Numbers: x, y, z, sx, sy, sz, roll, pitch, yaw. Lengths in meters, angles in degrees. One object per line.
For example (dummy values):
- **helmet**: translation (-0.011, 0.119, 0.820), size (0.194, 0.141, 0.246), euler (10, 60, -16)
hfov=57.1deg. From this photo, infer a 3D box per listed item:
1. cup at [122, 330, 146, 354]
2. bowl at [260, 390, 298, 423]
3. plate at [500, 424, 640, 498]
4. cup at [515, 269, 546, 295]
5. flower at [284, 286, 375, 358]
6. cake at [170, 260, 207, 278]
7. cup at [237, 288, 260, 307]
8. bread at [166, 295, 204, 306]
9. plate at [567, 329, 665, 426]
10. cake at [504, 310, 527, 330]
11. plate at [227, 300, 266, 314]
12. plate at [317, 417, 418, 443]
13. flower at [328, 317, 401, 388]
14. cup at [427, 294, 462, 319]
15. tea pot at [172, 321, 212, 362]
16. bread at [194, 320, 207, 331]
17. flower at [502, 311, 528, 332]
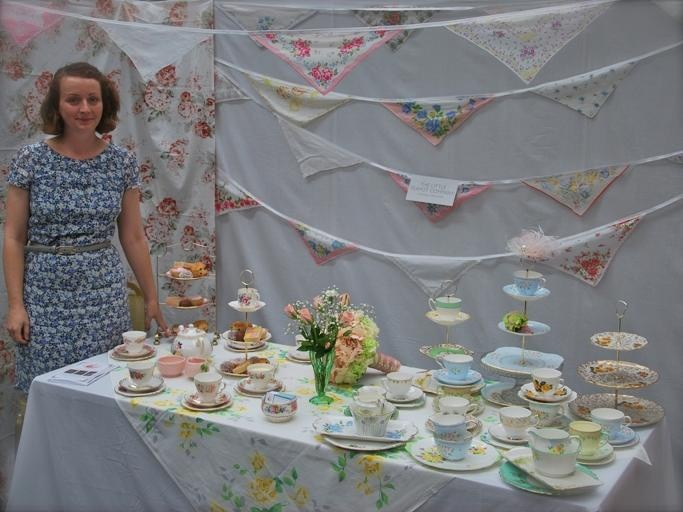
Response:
- **cup**: translation (-0.974, 0.392, 2.893), size (0.102, 0.079, 0.105), euler (2, -1, 0)
- **bowl**: translation (-0.233, 0.554, 2.322), size (0.115, 0.074, 0.116), euler (3, -6, 0)
- **plate**: translation (0.668, 0.671, 2.009), size (0.232, 0.055, 0.250), euler (3, 14, 36)
- **cup**: translation (0.794, 0.107, 2.617), size (0.107, 0.080, 0.128), euler (1, -5, 16)
- **flower**: translation (-0.065, 0.256, 2.629), size (0.305, 0.247, 0.282), euler (6, 13, -11)
- **cake**: translation (-0.782, 0.066, 3.221), size (0.131, 0.043, 0.129), euler (0, 8, -2)
- **cup**: translation (-0.434, 0.185, 2.939), size (0.115, 0.080, 0.104), euler (1, -5, 2)
- **bread**: translation (-0.803, 0.234, 3.263), size (0.190, 0.047, 0.160), euler (1, -2, -12)
- **plate**: translation (1.060, 0.455, 2.436), size (0.404, 0.380, 0.394), euler (0, 5, 2)
- **cake**: translation (0.709, 0.263, 2.529), size (0.087, 0.076, 0.108), euler (2, -2, -25)
- **plate**: translation (-0.492, 0.267, 3.332), size (0.200, 0.040, 0.203), euler (3, 0, 24)
- **plate**: translation (0.078, 0.614, 2.203), size (0.203, 0.025, 0.125), euler (1, 4, 13)
- **flower**: translation (0.069, 0.395, 2.682), size (0.310, 0.253, 0.268), euler (19, -38, -13)
- **cup**: translation (0.440, 0.204, 2.610), size (0.108, 0.082, 0.125), euler (1, -2, 16)
- **tea pot**: translation (-0.687, 0.388, 2.856), size (0.190, 0.160, 0.231), euler (-3, 14, -31)
- **bread**: translation (-0.682, 0.336, 3.060), size (0.088, 0.028, 0.097), euler (-1, 8, 1)
- **flower**: translation (0.695, 0.261, 2.499), size (0.070, 0.048, 0.089), euler (-4, 0, 14)
